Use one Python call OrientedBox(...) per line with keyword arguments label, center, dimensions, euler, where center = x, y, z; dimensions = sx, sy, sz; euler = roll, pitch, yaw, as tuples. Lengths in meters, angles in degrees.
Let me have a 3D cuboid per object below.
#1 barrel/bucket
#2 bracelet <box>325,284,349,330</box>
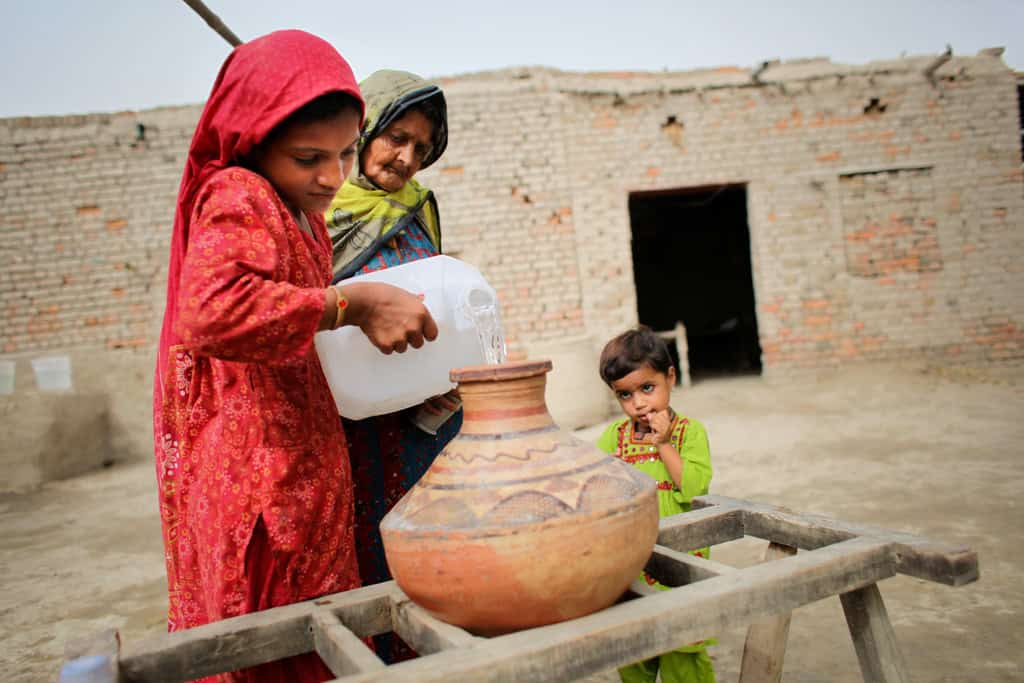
OrientedBox(label="barrel/bucket", center=(-0.651, 0.009, 6.345), dimensions=(0.900, 0.618, 0.497), euler=(-8, 18, 12))
OrientedBox(label="bracelet", center=(-0.992, -0.218, 6.078), dimensions=(0.109, 0.216, 0.181), euler=(-1, 39, 1))
